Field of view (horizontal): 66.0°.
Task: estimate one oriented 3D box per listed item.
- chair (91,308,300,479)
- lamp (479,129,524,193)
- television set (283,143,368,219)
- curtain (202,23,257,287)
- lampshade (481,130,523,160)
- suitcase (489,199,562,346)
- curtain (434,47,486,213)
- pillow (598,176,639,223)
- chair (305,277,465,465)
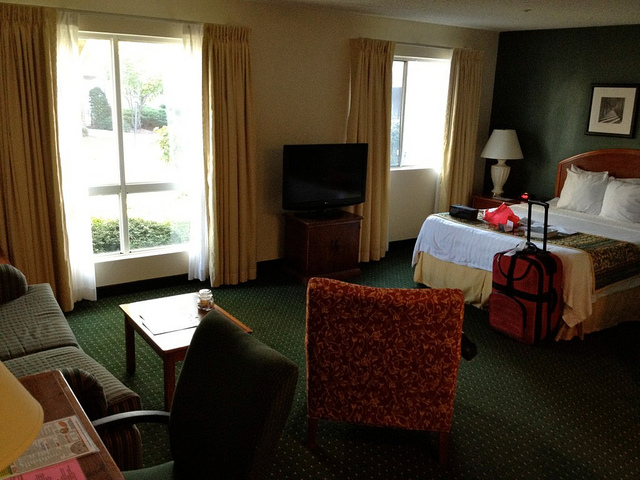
[{"bbox_3d":[-0.680,0.795,2.523,0.774,1.022,0.622,-5,25,-43],"label":"chair"},{"bbox_3d":[2.441,-1.052,6.636,0.530,0.881,0.543,-2,11,-19],"label":"lamp"},{"bbox_3d":[0.025,-0.670,5.405,0.748,0.593,0.205,-7,25,-24],"label":"television set"},{"bbox_3d":[-0.920,-0.809,5.023,0.602,2.588,0.388,-6,18,-15],"label":"curtain"},{"bbox_3d":[2.381,-1.235,6.509,0.392,0.403,0.408,-6,19,-13],"label":"lampshade"},{"bbox_3d":[1.775,0.241,4.226,0.362,1.263,0.542,-16,23,-39],"label":"suitcase"},{"bbox_3d":[1.861,-1.420,6.538,0.687,2.094,0.231,-12,21,-30],"label":"curtain"},{"bbox_3d":[3.230,-0.448,5.310,0.130,0.430,0.420,12,5,-33],"label":"pillow"},{"bbox_3d":[0.361,0.633,3.070,0.793,1.181,0.946,3,18,5],"label":"chair"}]
